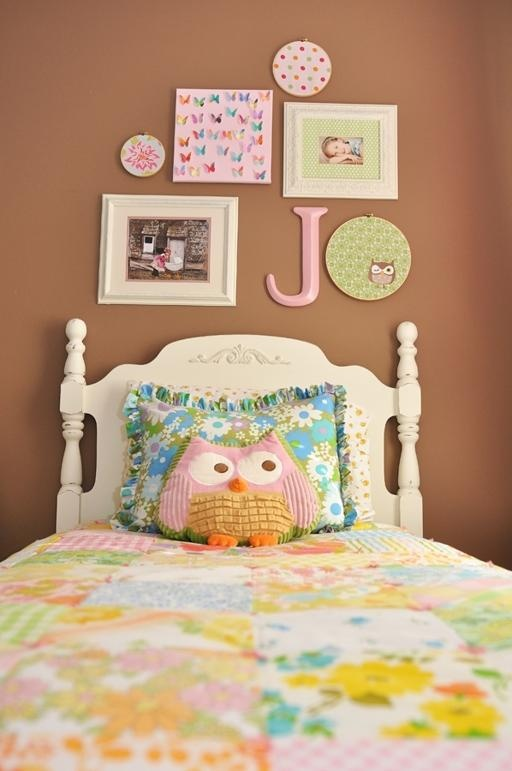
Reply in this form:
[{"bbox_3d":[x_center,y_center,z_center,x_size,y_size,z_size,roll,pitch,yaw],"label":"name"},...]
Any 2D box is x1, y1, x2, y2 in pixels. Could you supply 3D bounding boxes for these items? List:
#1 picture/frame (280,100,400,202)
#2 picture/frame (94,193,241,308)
[{"bbox_3d":[0.291,-0.813,2.363,0.402,0.300,0.017,0,-2,-4],"label":"picture/frame"},{"bbox_3d":[-0.308,-0.453,2.320,0.436,0.320,0.031,1,-1,2],"label":"picture/frame"}]
